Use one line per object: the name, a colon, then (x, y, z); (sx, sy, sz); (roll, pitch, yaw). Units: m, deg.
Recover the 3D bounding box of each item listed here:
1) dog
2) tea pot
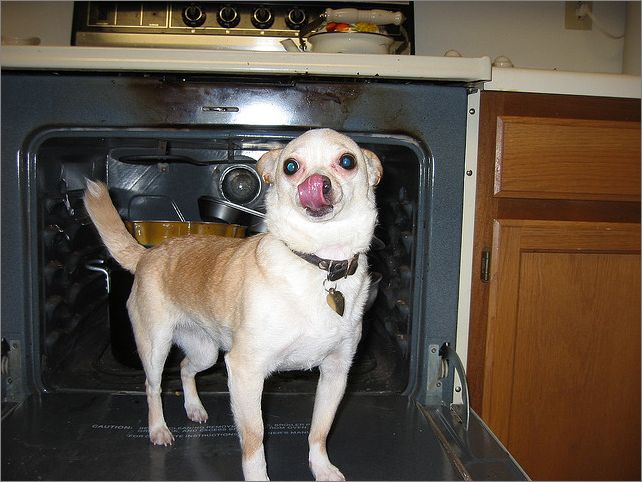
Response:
dog: (-0.285, 0.213, 2.022); (0.887, 1.264, 0.486); (5, 10, 21)
tea pot: (0.106, -0.963, 2.472); (0.589, 0.266, 0.393); (1, 14, -5)
